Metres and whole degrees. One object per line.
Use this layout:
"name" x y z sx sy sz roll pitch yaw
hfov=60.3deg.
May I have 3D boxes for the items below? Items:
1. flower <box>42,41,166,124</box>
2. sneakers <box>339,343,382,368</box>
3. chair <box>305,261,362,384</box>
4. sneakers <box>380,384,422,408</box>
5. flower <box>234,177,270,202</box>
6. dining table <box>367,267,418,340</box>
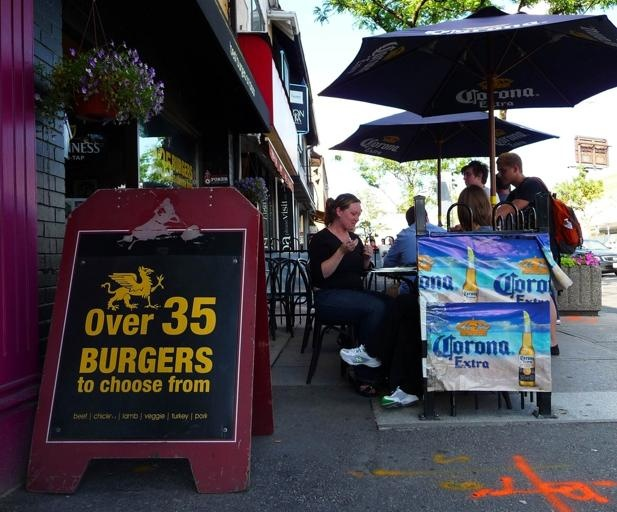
"flower" -1.371 -1.214 3.566 0.742 0.747 0.476 5 -42 -26
"sneakers" 0.395 0.803 4.290 0.355 0.178 0.134 13 -13 2
"chair" 0.127 0.778 5.102 0.685 1.023 0.649 1 -1 0
"sneakers" 0.684 1.058 3.982 0.271 0.135 0.127 -1 -13 -10
"flower" -0.999 -1.164 9.302 0.394 0.474 0.791 -1 2 11
"dining table" 0.742 0.362 4.606 0.377 0.609 1.659 -1 2 10
